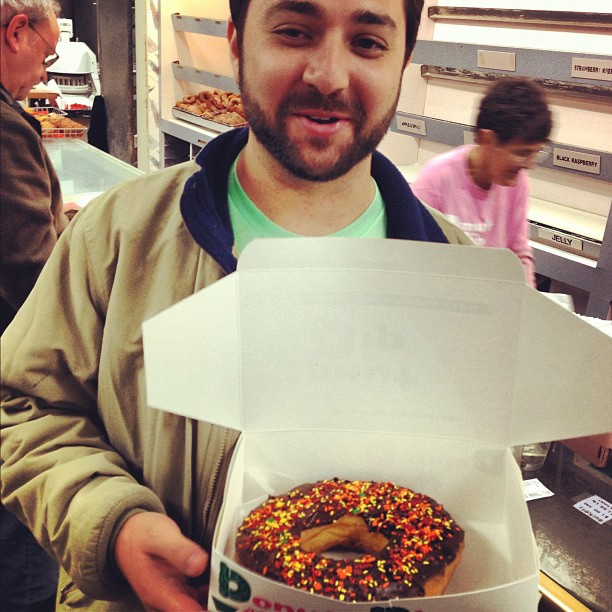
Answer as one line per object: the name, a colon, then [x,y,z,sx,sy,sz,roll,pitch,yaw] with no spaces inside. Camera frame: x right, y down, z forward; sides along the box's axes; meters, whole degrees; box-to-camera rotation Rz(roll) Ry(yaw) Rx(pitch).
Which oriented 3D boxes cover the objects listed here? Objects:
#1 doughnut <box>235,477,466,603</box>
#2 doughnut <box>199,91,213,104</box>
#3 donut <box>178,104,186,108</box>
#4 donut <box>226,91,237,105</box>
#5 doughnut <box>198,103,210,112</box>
doughnut: [0.050,0.279,0.711,0.220,0.074,0.209,15,16,33]
doughnut: [-0.825,-1.733,4.904,0.080,0.100,0.163,-4,17,-34]
donut: [-1.063,-1.700,5.004,0.063,0.018,0.057,1,12,-5]
donut: [-0.612,-1.698,4.764,0.032,0.113,0.125,8,15,-26]
doughnut: [-0.832,-1.618,4.799,0.072,0.073,0.114,-3,16,-31]
